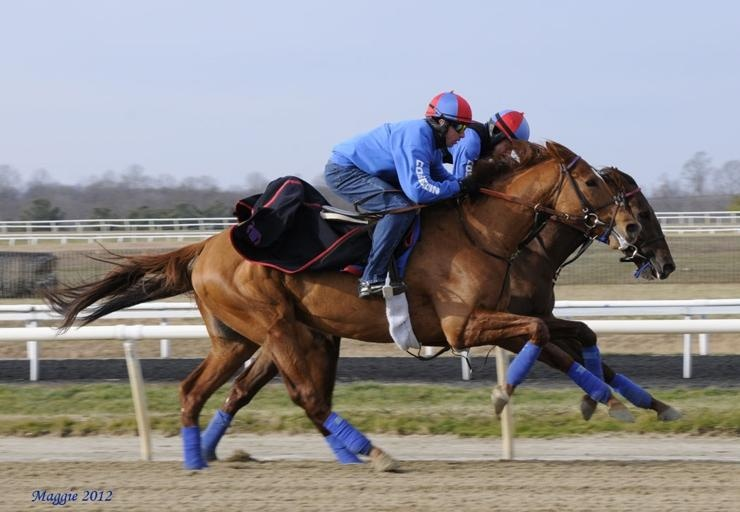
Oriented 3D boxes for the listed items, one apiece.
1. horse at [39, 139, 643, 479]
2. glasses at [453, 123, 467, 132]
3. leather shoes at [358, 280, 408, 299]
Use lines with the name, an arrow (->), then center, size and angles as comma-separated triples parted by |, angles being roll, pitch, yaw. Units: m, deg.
horse -> -0.223, 0.203, 9.773 | 5.144, 1.724, 0.959 | -5, 20, 10
glasses -> 0.711, -1.011, 9.399 | 0.071, 0.022, 0.073 | 6, -19, -3
leather shoes -> 0.094, 0.246, 9.141 | 0.300, 0.064, 0.146 | -2, 4, 4
